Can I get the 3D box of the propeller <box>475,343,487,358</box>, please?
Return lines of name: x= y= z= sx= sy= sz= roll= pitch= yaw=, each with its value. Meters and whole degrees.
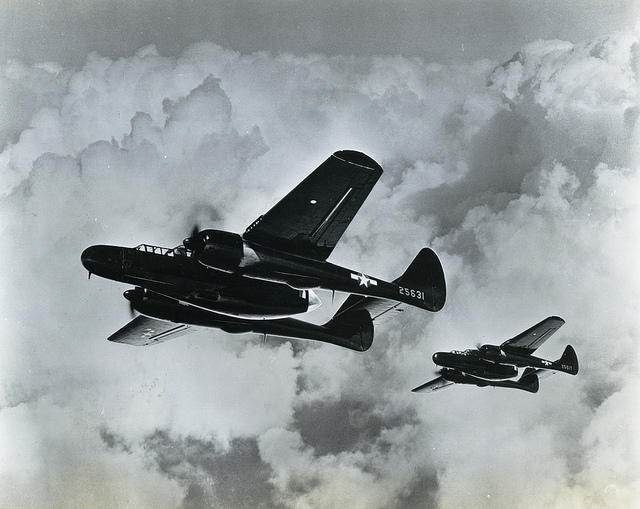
propeller: x=3.681 y=2.284 z=26.134 sx=0.210 sy=0.086 sz=0.288 roll=9 pitch=61 yaw=13

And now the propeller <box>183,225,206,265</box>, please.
propeller: x=-2.408 y=-0.199 z=21.937 sx=0.500 sy=0.217 sz=0.873 roll=13 pitch=109 yaw=16
